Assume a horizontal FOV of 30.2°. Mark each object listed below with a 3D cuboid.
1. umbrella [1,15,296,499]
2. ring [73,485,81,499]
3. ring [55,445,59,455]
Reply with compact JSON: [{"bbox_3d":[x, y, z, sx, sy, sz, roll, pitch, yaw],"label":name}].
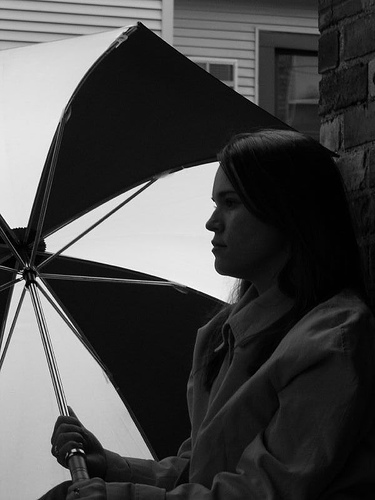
[{"bbox_3d":[-0.258,-0.021,2.135,0.710,1.235,1.098,-1,-2,37],"label":"umbrella"},{"bbox_3d":[-0.220,0.483,1.389,0.004,0.016,0.012,-17,-21,18],"label":"ring"},{"bbox_3d":[-0.332,0.511,1.773,0.004,0.032,0.008,-6,25,14],"label":"ring"}]
